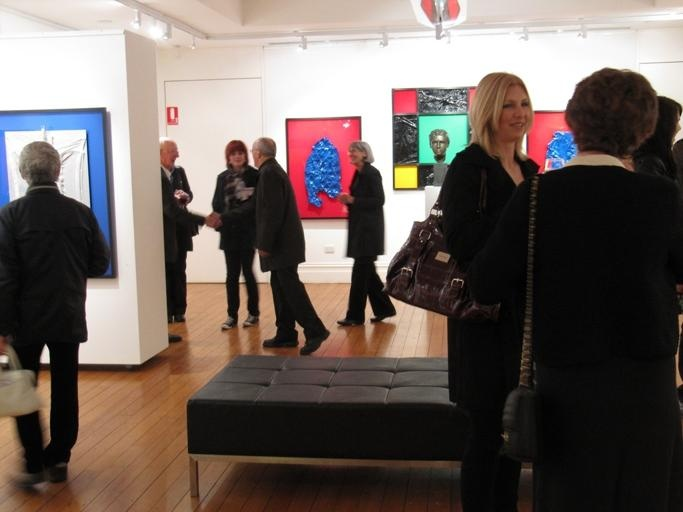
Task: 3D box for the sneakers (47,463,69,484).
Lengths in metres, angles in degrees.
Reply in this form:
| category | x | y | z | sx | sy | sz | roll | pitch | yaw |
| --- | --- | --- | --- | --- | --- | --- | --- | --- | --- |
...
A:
| category | x | y | z | sx | sy | sz | roll | pitch | yaw |
| --- | --- | --- | --- | --- | --- | --- | --- | --- | --- |
| sneakers | -1.703 | 1.308 | 3.437 | 0.105 | 0.111 | 0.105 | 1 | -1 | -5 |

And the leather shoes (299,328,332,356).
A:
| category | x | y | z | sx | sy | sz | roll | pitch | yaw |
| --- | --- | --- | --- | --- | --- | --- | --- | --- | --- |
| leather shoes | -0.272 | 0.852 | 5.706 | 0.398 | 0.157 | 0.145 | -48 | 24 | -22 |

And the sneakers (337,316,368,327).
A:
| category | x | y | z | sx | sy | sz | roll | pitch | yaw |
| --- | --- | --- | --- | --- | --- | --- | --- | --- | --- |
| sneakers | 0.112 | 0.769 | 6.798 | 0.333 | 0.145 | 0.114 | 2 | -2 | 1 |

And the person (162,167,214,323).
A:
| category | x | y | z | sx | sy | sz | roll | pitch | yaw |
| --- | --- | --- | --- | --- | --- | --- | --- | --- | --- |
| person | -1.867 | -0.088 | 6.753 | 0.456 | 1.877 | 0.956 | -4 | 8 | -17 |

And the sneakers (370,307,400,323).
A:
| category | x | y | z | sx | sy | sz | roll | pitch | yaw |
| --- | --- | --- | --- | --- | --- | --- | --- | --- | --- |
| sneakers | 0.517 | 0.733 | 6.943 | 0.392 | 0.171 | 0.136 | -14 | 23 | 12 |

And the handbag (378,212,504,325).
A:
| category | x | y | z | sx | sy | sz | roll | pitch | yaw |
| --- | --- | --- | --- | --- | --- | --- | --- | --- | --- |
| handbag | 0.456 | 0.011 | 2.468 | 0.512 | 0.493 | 0.189 | 13 | -4 | 41 |

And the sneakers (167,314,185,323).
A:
| category | x | y | z | sx | sy | sz | roll | pitch | yaw |
| --- | --- | --- | --- | --- | --- | --- | --- | --- | --- |
| sneakers | -2.046 | 0.783 | 7.128 | 0.219 | 0.156 | 0.075 | 0 | 5 | 6 |

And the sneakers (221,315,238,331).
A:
| category | x | y | z | sx | sy | sz | roll | pitch | yaw |
| --- | --- | --- | --- | --- | --- | --- | --- | --- | --- |
| sneakers | -1.338 | 0.810 | 6.807 | 0.090 | 0.113 | 0.250 | -2 | -6 | 8 |

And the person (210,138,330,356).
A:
| category | x | y | z | sx | sy | sz | roll | pitch | yaw |
| --- | --- | --- | --- | --- | --- | --- | --- | --- | --- |
| person | -0.617 | -0.122 | 5.812 | 0.620 | 2.160 | 0.998 | -6 | 9 | -28 |

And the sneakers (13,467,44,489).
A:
| category | x | y | z | sx | sy | sz | roll | pitch | yaw |
| --- | --- | --- | --- | --- | --- | --- | --- | --- | --- |
| sneakers | -1.877 | 1.324 | 3.426 | 0.139 | 0.121 | 0.104 | -3 | 5 | -26 |
